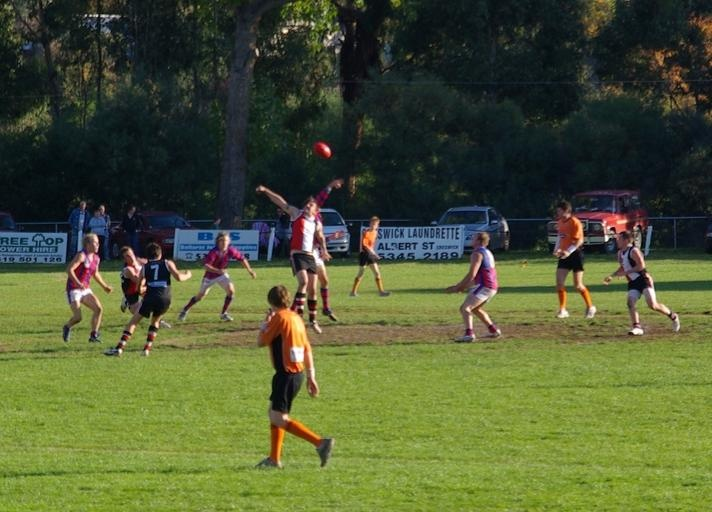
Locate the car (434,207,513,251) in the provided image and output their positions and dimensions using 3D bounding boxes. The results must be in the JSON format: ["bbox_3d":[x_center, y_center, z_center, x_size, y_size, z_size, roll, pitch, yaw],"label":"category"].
[{"bbox_3d":[5.621,-1.401,77.409,1.982,1.250,2.895,0,-2,26],"label":"car"}]

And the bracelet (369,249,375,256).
[{"bbox_3d":[0.531,-0.103,62.699,0.157,0.255,0.156,12,46,34],"label":"bracelet"}]

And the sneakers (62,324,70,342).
[{"bbox_3d":[-9.559,2.581,56.141,0.192,0.583,0.252,-4,4,-33],"label":"sneakers"}]

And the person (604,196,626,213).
[{"bbox_3d":[11.617,-2.268,75.728,0.744,0.734,1.314,3,7,17],"label":"person"}]

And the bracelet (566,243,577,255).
[{"bbox_3d":[7.365,-0.223,58.327,0.253,0.136,0.365,-8,23,21],"label":"bracelet"}]

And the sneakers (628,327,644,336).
[{"bbox_3d":[9.253,2.546,56.319,0.537,0.241,0.198,3,-9,-21],"label":"sneakers"}]
